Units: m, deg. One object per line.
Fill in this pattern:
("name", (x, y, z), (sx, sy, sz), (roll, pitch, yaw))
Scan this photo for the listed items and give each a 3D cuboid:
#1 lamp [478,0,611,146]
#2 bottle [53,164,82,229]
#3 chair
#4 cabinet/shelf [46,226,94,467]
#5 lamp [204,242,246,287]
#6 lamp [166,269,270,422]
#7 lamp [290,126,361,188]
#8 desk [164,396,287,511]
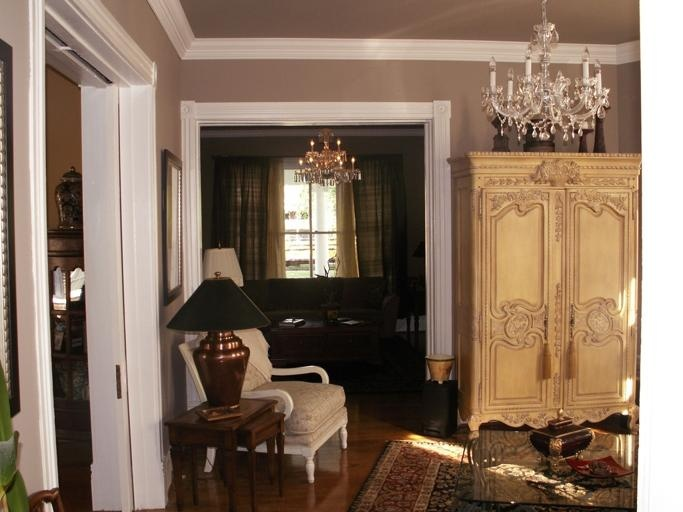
("lamp", (1.401, -1.312, 4.471), (0.842, 1.072, 0.830), (-10, 15, -36))
("bottle", (-1.824, -0.390, 4.247), (0.164, 0.421, 0.306), (-3, 4, -24))
("chair", (-0.433, 0.957, 4.641), (1.115, 1.118, 0.910), (-1, 2, 9))
("cabinet/shelf", (-1.828, 0.638, 4.268), (0.266, 1.639, 0.229), (-1, 4, -8))
("lamp", (-0.870, 0.055, 4.767), (0.282, 0.291, 0.285), (3, 9, 43))
("lamp", (-0.774, 0.536, 4.150), (0.714, 0.924, 0.710), (1, -2, -31))
("lamp", (-0.214, -1.163, 7.894), (0.821, 0.728, 0.837), (4, 9, 24))
("desk", (-0.705, 1.078, 3.962), (0.604, 0.675, 0.806), (-1, 0, 10))
